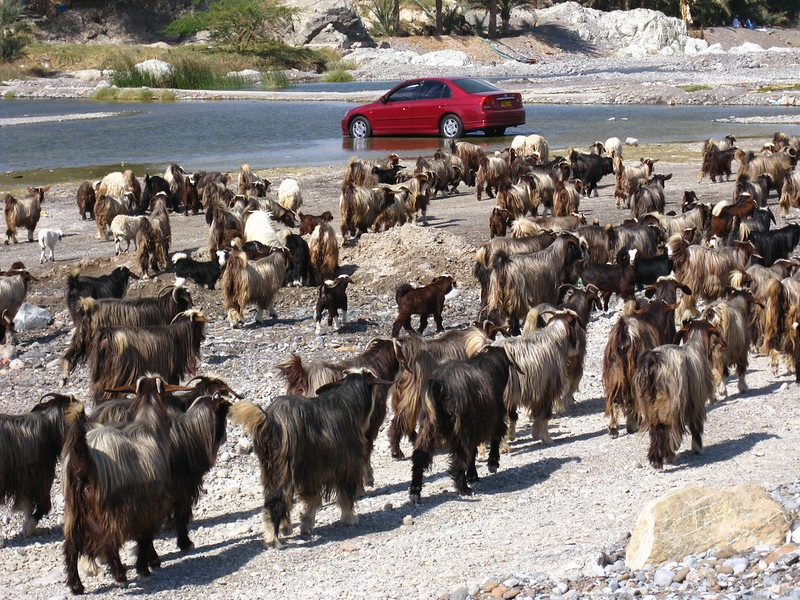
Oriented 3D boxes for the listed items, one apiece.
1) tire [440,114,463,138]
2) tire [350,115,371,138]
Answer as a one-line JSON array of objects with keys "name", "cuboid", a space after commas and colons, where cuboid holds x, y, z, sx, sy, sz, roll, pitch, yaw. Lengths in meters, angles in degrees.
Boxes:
[{"name": "tire", "cuboid": [1.423, -4.780, 28.522, 0.443, 0.509, 0.154, 9, 14, 31]}, {"name": "tire", "cuboid": [-1.105, -5.067, 30.384, 0.537, 0.612, 0.200, 6, 9, 42]}]
